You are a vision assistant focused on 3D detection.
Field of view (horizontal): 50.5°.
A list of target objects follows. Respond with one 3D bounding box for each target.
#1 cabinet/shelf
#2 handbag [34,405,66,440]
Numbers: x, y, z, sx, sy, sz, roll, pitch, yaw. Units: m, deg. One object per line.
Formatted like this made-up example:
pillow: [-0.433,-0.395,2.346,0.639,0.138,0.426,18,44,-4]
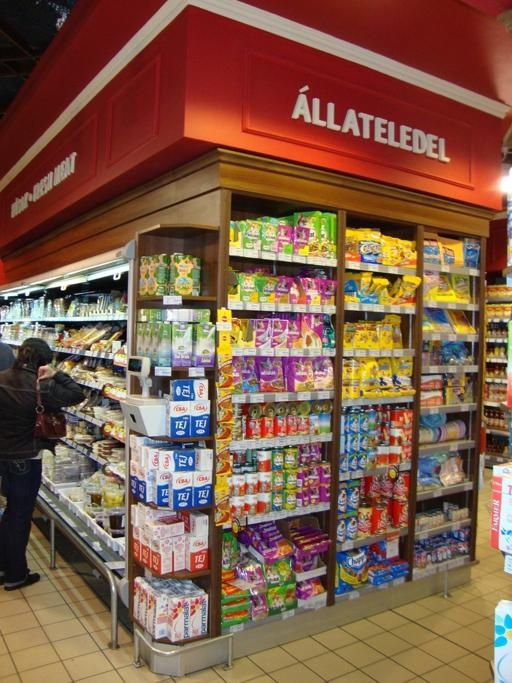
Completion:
cabinet/shelf: [-0.103,0.277,4.674,2.880,3.267,3.393,-1,1,-33]
handbag: [-1.406,0.545,3.681,0.110,0.214,0.227,-11,-15,41]
